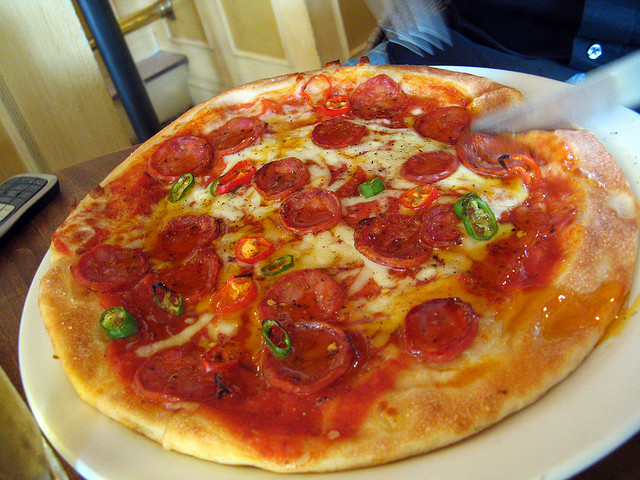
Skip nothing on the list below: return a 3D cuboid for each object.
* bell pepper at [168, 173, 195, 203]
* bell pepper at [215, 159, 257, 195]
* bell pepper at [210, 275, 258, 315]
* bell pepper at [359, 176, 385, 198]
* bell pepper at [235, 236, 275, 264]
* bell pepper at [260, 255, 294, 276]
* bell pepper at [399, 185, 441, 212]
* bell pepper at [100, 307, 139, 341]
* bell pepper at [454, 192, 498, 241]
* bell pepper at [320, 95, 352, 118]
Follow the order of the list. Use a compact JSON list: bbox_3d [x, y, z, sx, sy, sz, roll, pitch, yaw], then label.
[{"bbox_3d":[-0.647,-0.244,2.727,0.091,0.034,0.164,29,70,40],"label":"bell pepper"},{"bbox_3d":[-0.404,-0.307,2.658,0.206,0.054,0.119,-38,42,-5],"label":"bell pepper"},{"bbox_3d":[-0.334,0.212,2.179,0.192,0.087,0.112,-21,48,-14],"label":"bell pepper"},{"bbox_3d":[0.238,-0.241,2.445,0.118,0.065,0.068,-21,48,-14],"label":"bell pepper"},{"bbox_3d":[-0.271,0.035,2.308,0.121,0.042,0.118,-17,35,-13],"label":"bell pepper"},{"bbox_3d":[-0.177,0.100,2.258,0.117,0.023,0.064,-24,49,-13],"label":"bell pepper"},{"bbox_3d":[0.416,-0.185,2.351,0.148,0.057,0.121,21,51,24],"label":"bell pepper"},{"bbox_3d":[-0.799,0.313,2.189,0.149,0.090,0.112,16,11,31],"label":"bell pepper"},{"bbox_3d":[0.617,-0.095,2.192,0.113,0.123,0.167,-19,47,-11],"label":"bell pepper"},{"bbox_3d":[0.082,-0.692,2.903,0.141,0.060,0.131,-13,46,-6],"label":"bell pepper"}]
